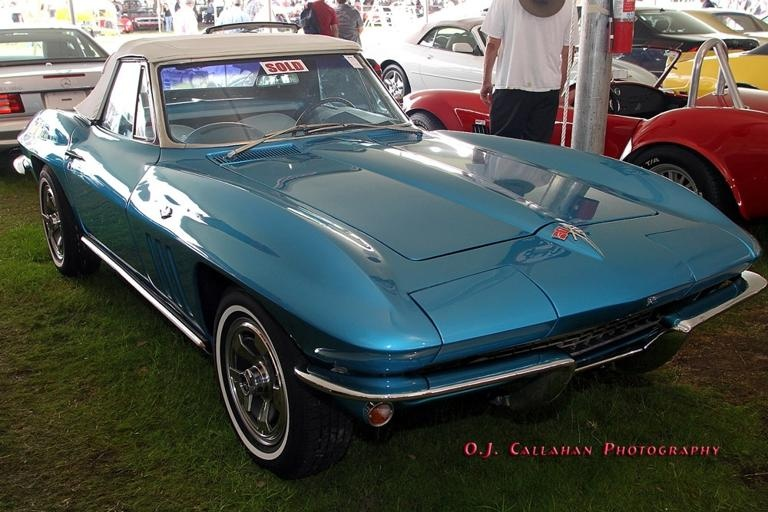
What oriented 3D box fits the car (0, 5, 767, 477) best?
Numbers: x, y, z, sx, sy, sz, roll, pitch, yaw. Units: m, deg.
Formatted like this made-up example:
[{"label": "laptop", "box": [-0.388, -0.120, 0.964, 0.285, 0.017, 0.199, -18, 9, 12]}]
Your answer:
[{"label": "car", "box": [-0.824, -0.417, 3.408, 2.550, 1.294, 4.489, -13, 27, -31]}]
